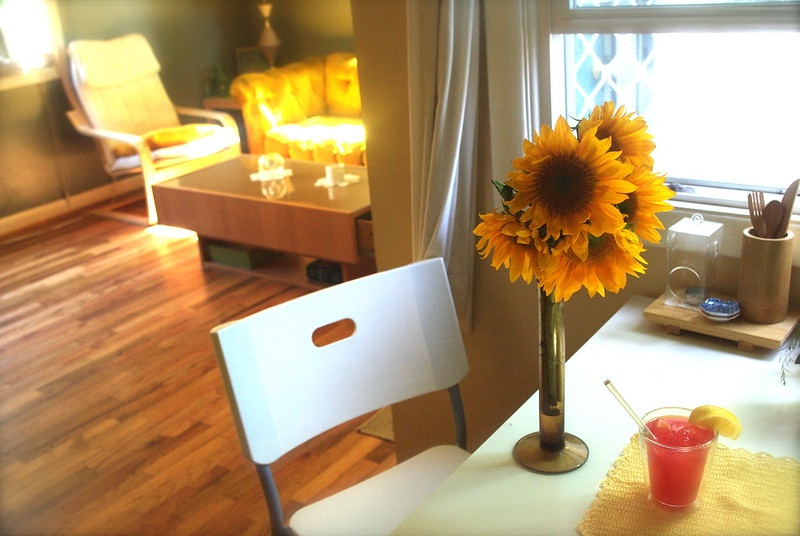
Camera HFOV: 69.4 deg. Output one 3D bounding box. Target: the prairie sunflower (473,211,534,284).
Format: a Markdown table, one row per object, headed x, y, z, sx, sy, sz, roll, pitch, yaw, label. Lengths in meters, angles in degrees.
| x | y | z | sx | sy | sz | roll | pitch | yaw | label |
| --- | --- | --- | --- | --- | --- | --- | --- | --- | --- |
| 0.230 | -0.048 | 1.093 | 0.099 | 0.157 | 0.133 | -22 | 26 | -29 | prairie sunflower |

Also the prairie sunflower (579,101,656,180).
| x | y | z | sx | sy | sz | roll | pitch | yaw | label |
| --- | --- | --- | --- | --- | --- | --- | --- | --- | --- |
| 0.391 | -0.229 | 1.073 | 0.126 | 0.134 | 0.118 | 17 | 32 | 32 | prairie sunflower |

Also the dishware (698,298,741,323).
| x | y | z | sx | sy | sz | roll | pitch | yaw | label |
| --- | --- | --- | --- | --- | --- | --- | --- | --- | --- |
| 0.750 | 0.094 | 1.344 | 0.057 | 0.022 | 0.059 | -26 | 38 | -18 | dishware |

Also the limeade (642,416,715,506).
| x | y | z | sx | sy | sz | roll | pitch | yaw | label |
| --- | --- | --- | --- | --- | --- | --- | --- | --- | --- |
| 0.499 | 0.326 | 1.042 | 0.106 | 0.154 | 0.103 | 8 | 24 | 29 | limeade |
